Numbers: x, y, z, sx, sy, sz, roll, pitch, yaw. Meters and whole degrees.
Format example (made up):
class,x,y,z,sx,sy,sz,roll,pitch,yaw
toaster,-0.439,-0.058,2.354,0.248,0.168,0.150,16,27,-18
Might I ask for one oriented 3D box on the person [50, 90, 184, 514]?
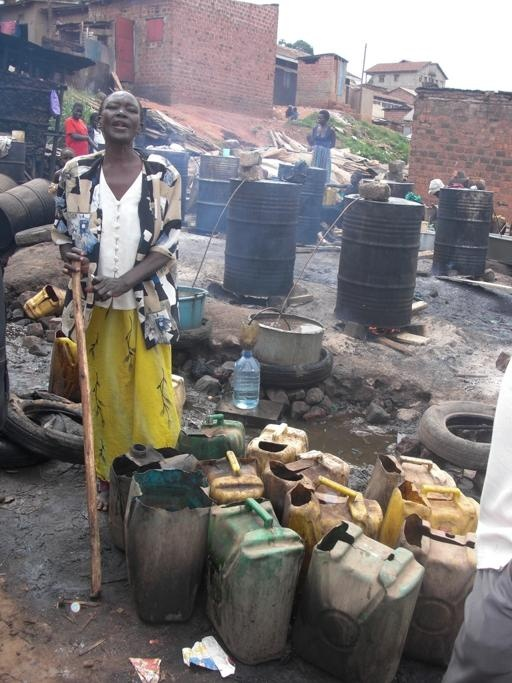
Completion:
class,x,y,z,sx,sy,sz,roll,pitch,yaw
person,-0.641,-0.189,2.423,0.602,1.722,0.559,6,17,6

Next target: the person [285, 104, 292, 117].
class,x,y,z,sx,sy,sz,roll,pitch,yaw
person,1.732,-12.084,28.895,0.271,0.646,0.825,6,13,-5

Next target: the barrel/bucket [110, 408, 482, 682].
class,x,y,z,sx,sy,sz,roll,pitch,yaw
barrel/bucket,0.200,0.782,2.303,0.807,1.283,0.710,0,52,4
